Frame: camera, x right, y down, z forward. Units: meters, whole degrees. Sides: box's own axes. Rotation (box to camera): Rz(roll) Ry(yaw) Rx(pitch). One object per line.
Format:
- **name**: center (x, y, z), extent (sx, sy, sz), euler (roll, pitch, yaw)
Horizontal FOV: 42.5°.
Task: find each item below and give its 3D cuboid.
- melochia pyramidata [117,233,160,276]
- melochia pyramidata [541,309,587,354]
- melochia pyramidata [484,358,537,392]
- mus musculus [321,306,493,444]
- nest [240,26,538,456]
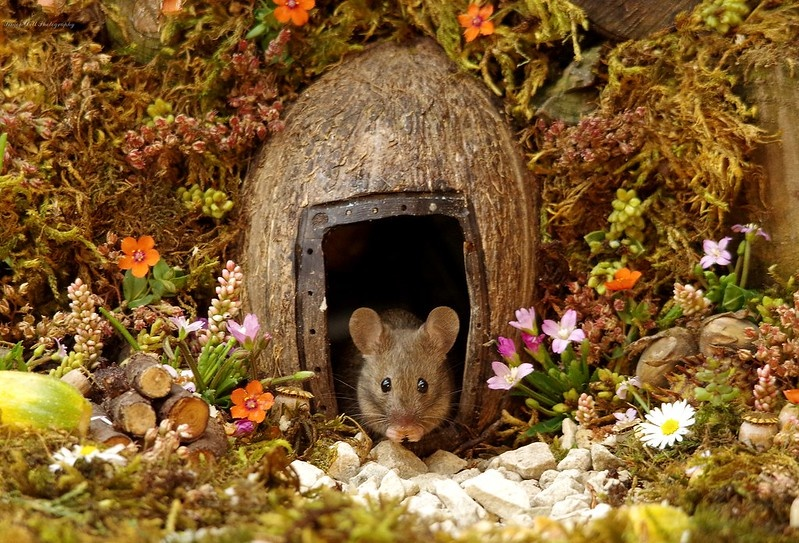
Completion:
- **melochia pyramidata**: center (-1.680, -0.094, 6.614), extent (0.255, 0.259, 0.289), euler (1, -2, -13)
- **melochia pyramidata**: center (1.022, 0.371, 6.397), extent (0.265, 0.265, 0.128), euler (5, -10, 33)
- **melochia pyramidata**: center (0.684, 0.655, 6.419), extent (0.203, 0.197, 0.096), euler (-28, -29, 37)
- **mus musculus**: center (-0.026, 0.700, 7.158), extent (0.698, 0.801, 1.066), euler (-1, 22, 1)
- **nest**: center (-0.087, -0.352, 7.408), extent (2.365, 2.600, 1.418), euler (-2, 17, -2)
